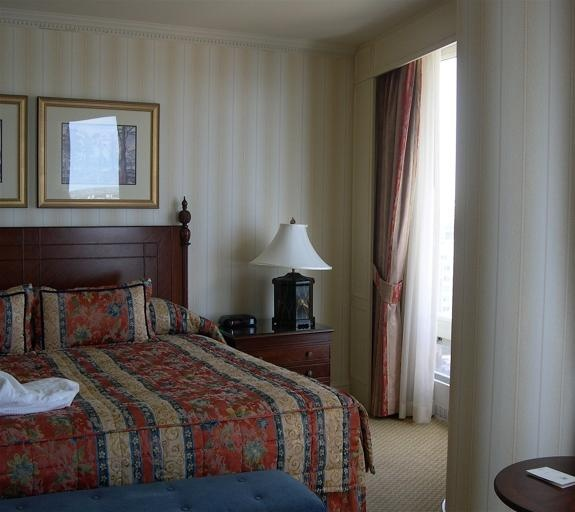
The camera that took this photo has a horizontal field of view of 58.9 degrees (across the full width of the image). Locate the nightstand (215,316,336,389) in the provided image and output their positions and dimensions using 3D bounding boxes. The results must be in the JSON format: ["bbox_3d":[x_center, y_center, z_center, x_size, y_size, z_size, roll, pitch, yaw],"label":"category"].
[{"bbox_3d":[-0.057,0.509,3.819,0.636,0.793,0.415,-2,3,-30],"label":"nightstand"}]

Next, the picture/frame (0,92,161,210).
[{"bbox_3d":[-1.497,-0.741,3.584,0.671,0.599,0.033,0,2,-24],"label":"picture/frame"}]

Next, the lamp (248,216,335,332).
[{"bbox_3d":[0.033,0.133,3.970,0.606,0.968,0.656,0,0,-35],"label":"lamp"}]
